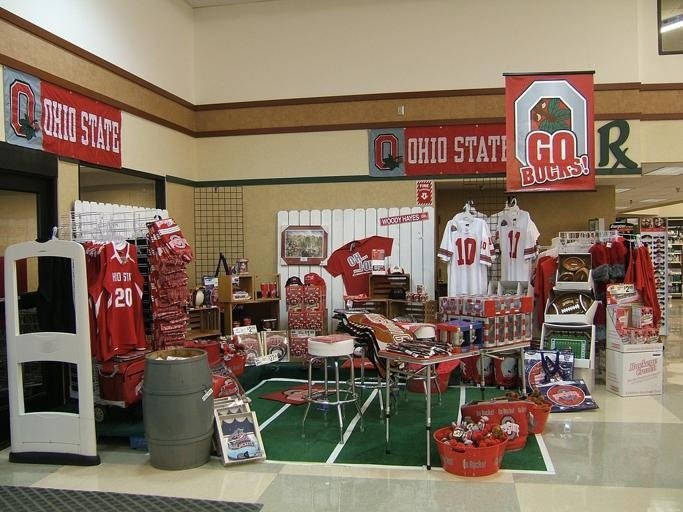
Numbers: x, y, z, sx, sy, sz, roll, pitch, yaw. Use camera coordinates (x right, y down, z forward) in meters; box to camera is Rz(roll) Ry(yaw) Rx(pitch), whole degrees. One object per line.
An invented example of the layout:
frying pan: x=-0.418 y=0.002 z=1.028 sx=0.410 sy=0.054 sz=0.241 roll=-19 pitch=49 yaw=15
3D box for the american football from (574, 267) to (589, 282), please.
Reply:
american football: x=3.297 y=0.253 z=7.600 sx=0.181 sy=0.192 sz=0.140 roll=4 pitch=-7 yaw=23

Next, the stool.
stool: x=-0.119 y=1.398 z=6.126 sx=0.765 sy=1.007 sz=0.769 roll=-1 pitch=-3 yaw=-17

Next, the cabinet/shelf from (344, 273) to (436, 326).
cabinet/shelf: x=0.834 y=0.642 z=8.884 sx=1.316 sy=0.734 sz=0.574 roll=0 pitch=7 yaw=10

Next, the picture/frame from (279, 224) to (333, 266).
picture/frame: x=-0.571 y=-0.211 z=9.409 sx=0.635 sy=0.593 sz=0.051 roll=1 pitch=3 yaw=6

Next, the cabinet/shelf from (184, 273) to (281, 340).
cabinet/shelf: x=-1.680 y=0.802 z=8.558 sx=0.262 sy=0.893 sz=1.009 roll=-1 pitch=0 yaw=39

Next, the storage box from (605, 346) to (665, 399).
storage box: x=3.861 y=1.516 z=7.246 sx=0.562 sy=0.831 sz=0.422 roll=1 pitch=5 yaw=6

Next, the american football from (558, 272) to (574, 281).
american football: x=3.093 y=0.294 z=7.638 sx=0.128 sy=0.129 sz=0.033 roll=6 pitch=-37 yaw=35

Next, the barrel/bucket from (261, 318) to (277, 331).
barrel/bucket: x=-1.158 y=1.089 z=8.825 sx=0.171 sy=0.139 sz=0.180 roll=-1 pitch=-1 yaw=0

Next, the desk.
desk: x=1.080 y=1.557 z=6.241 sx=0.590 sy=1.076 sz=1.811 roll=0 pitch=-1 yaw=34
